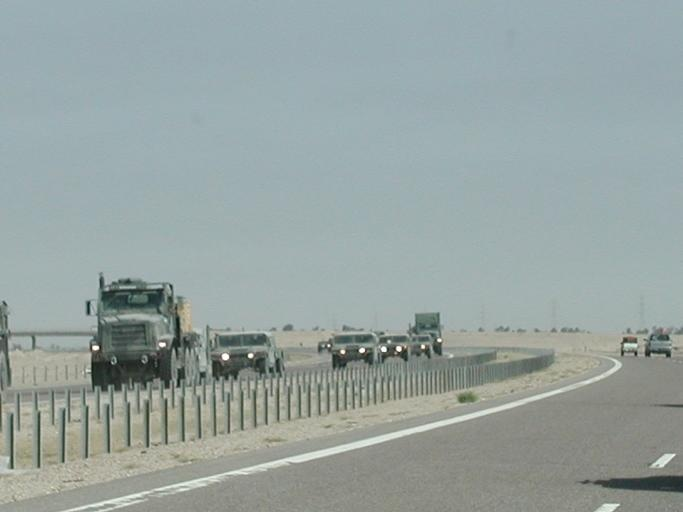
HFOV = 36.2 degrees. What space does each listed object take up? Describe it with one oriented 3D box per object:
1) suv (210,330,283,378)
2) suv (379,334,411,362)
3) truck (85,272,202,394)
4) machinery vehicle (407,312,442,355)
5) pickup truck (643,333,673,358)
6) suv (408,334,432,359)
[{"bbox_3d":[-4.027,4.159,44.197,2.803,2.124,4.628,-1,-8,-8],"label":"suv"},{"bbox_3d":[3.123,5.323,60.354,2.183,1.549,1.797,0,-7,-17],"label":"suv"},{"bbox_3d":[-7.182,2.683,36.977,3.233,3.929,2.044,1,-7,-17],"label":"truck"},{"bbox_3d":[6.582,5.723,76.209,2.145,3.312,4.878,-5,1,17],"label":"machinery vehicle"},{"bbox_3d":[20.706,5.849,68.466,1.001,1.192,2.355,0,-7,5],"label":"pickup truck"},{"bbox_3d":[5.335,6.057,69.295,1.002,1.265,2.014,-1,-8,6],"label":"suv"}]
